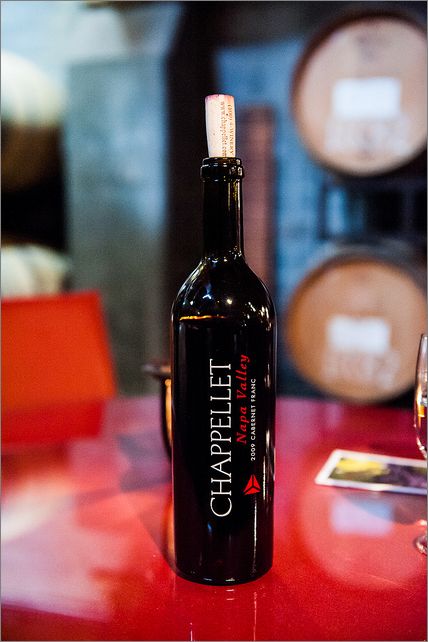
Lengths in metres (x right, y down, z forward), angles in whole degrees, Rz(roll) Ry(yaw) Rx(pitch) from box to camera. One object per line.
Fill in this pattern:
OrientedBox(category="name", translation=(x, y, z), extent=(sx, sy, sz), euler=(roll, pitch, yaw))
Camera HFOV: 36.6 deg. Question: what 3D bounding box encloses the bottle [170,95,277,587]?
OrientedBox(category="bottle", translation=(0.006, 0.020, 0.486), extent=(0.080, 0.362, 0.053), euler=(0, 6, 4))
